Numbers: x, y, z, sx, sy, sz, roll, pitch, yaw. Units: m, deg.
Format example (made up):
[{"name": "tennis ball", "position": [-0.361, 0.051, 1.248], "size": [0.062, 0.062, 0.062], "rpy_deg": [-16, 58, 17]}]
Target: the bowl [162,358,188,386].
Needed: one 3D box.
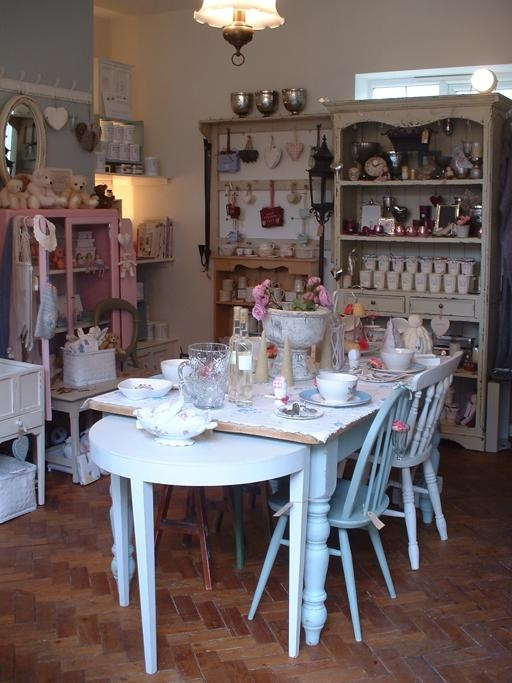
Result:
[{"name": "bowl", "position": [-0.286, 0.104, 2.041], "size": [0.094, 0.059, 0.094], "rpy_deg": [0, 2, 0]}]

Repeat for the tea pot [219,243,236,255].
[{"name": "tea pot", "position": [-0.231, -0.769, 4.905], "size": [0.112, 0.081, 0.111], "rpy_deg": [-1, -1, 0]}]

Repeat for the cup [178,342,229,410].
[{"name": "cup", "position": [-0.144, 0.106, 1.856], "size": [0.144, 0.205, 0.218], "rpy_deg": [0, -1, -25]}]

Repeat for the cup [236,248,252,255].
[{"name": "cup", "position": [-0.102, -0.740, 4.857], "size": [0.064, 0.049, 0.109], "rpy_deg": [-2, 1, -24]}]

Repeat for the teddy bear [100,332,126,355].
[{"name": "teddy bear", "position": [-0.851, 0.023, 3.497], "size": [0.110, 0.180, 0.167], "rpy_deg": [-8, -7, 38]}]

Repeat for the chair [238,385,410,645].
[{"name": "chair", "position": [0.209, 0.495, 1.960], "size": [0.578, 0.908, 0.533], "rpy_deg": [1, 9, 7]}]

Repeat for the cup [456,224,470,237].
[{"name": "cup", "position": [1.348, -0.720, 3.825], "size": [0.083, 0.067, 0.088], "rpy_deg": [-1, 1, 0]}]

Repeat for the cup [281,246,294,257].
[{"name": "cup", "position": [0.249, -0.723, 4.666], "size": [0.099, 0.087, 0.074], "rpy_deg": [5, 6, 34]}]

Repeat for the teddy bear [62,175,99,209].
[{"name": "teddy bear", "position": [-1.083, -0.886, 3.522], "size": [0.118, 0.206, 0.250], "rpy_deg": [2, 3, 28]}]

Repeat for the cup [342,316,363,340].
[{"name": "cup", "position": [0.454, -0.069, 2.726], "size": [0.118, 0.121, 0.111], "rpy_deg": [-1, 6, 0]}]

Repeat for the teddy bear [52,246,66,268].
[{"name": "teddy bear", "position": [-1.137, -0.476, 3.354], "size": [0.091, 0.123, 0.070], "rpy_deg": [-1, 4, -35]}]

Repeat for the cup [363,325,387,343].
[{"name": "cup", "position": [0.597, -0.038, 2.874], "size": [0.097, 0.091, 0.093], "rpy_deg": [1, 6, 0]}]

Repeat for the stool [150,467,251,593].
[{"name": "stool", "position": [-0.303, 0.649, 2.195], "size": [0.343, 0.347, 0.340], "rpy_deg": [16, 5, 27]}]

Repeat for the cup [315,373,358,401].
[{"name": "cup", "position": [0.256, 0.139, 1.866], "size": [0.098, 0.061, 0.102], "rpy_deg": [0, -3, 0]}]

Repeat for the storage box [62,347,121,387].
[{"name": "storage box", "position": [-0.934, 0.083, 3.322], "size": [0.196, 0.222, 0.337], "rpy_deg": [2, 4, 35]}]

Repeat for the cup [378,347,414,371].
[{"name": "cup", "position": [0.573, 0.071, 2.395], "size": [0.099, 0.064, 0.101], "rpy_deg": [1, -4, 0]}]

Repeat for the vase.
[{"name": "vase", "position": [0.121, 0.005, 2.205], "size": [0.269, 0.263, 0.261], "rpy_deg": [1, -2, -15]}]

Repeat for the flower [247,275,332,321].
[{"name": "flower", "position": [0.125, -0.157, 2.161], "size": [0.212, 0.087, 0.197], "rpy_deg": [-2, 5, 22]}]

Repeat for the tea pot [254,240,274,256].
[{"name": "tea pot", "position": [0.059, -0.763, 4.797], "size": [0.155, 0.121, 0.125], "rpy_deg": [1, 0, 16]}]

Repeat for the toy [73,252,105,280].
[{"name": "toy", "position": [-1.040, -0.474, 3.672], "size": [0.161, 0.119, 0.158], "rpy_deg": [1, 9, 6]}]
